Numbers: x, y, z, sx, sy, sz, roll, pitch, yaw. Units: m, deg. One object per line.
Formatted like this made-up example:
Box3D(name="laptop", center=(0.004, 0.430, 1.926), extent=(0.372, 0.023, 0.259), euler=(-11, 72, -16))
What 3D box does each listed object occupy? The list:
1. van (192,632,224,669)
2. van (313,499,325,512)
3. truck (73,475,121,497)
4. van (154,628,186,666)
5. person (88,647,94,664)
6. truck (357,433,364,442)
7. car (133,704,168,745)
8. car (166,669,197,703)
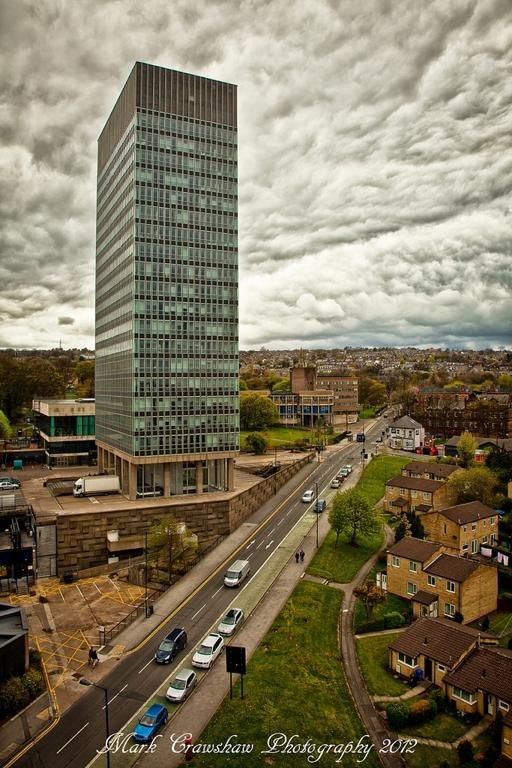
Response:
Box3D(name="van", center=(-4.246, 23.107, 51.752), extent=(1.573, 1.608, 3.612), euler=(5, 6, 18))
Box3D(name="van", center=(9.776, 19.235, 94.180), extent=(1.089, 0.946, 2.617), euler=(5, 9, 14))
Box3D(name="truck", center=(-24.266, 15.706, 93.492), extent=(7.561, 3.785, 2.781), euler=(3, -3, -20))
Box3D(name="van", center=(-7.486, 22.860, 52.366), extent=(1.480, 1.614, 3.508), euler=(5, 6, 23))
Box3D(name="person", center=(-14.040, 23.162, 51.130), extent=(0.307, 1.337, 0.908), euler=(1, 6, -19))
Box3D(name="truck", center=(27.699, 14.496, 161.699), extent=(1.437, 1.411, 2.409), euler=(1, 3, 14))
Box3D(name="car", center=(-7.449, 23.773, 42.024), extent=(1.363, 1.295, 2.522), euler=(5, 6, 24))
Box3D(name="car", center=(-5.864, 23.440, 46.554), extent=(1.453, 1.259, 2.627), euler=(5, 6, 21))
